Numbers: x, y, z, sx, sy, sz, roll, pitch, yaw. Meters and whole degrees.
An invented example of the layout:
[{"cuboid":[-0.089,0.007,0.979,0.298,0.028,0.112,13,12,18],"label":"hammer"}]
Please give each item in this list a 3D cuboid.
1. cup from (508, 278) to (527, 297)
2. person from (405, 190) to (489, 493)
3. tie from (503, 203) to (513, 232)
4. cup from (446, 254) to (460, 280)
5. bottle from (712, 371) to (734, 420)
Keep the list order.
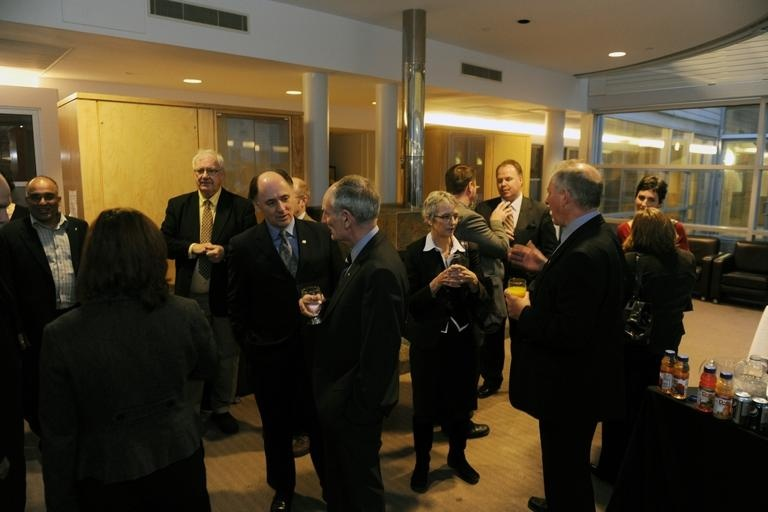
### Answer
[{"cuboid":[0.889,0.211,3.865,0.110,0.116,0.115,0,3,0],"label":"cup"},{"cuboid":[0.438,0.638,4.242,0.603,2.172,0.482,2,10,1],"label":"person"},{"cuboid":[1.128,-0.361,5.374,0.054,0.237,0.176,4,0,-20],"label":"tie"},{"cuboid":[0.485,0.079,3.914,0.107,0.191,0.122,3,8,25],"label":"cup"},{"cuboid":[2.021,0.830,3.426,0.112,0.272,0.084,4,11,12],"label":"bottle"}]
